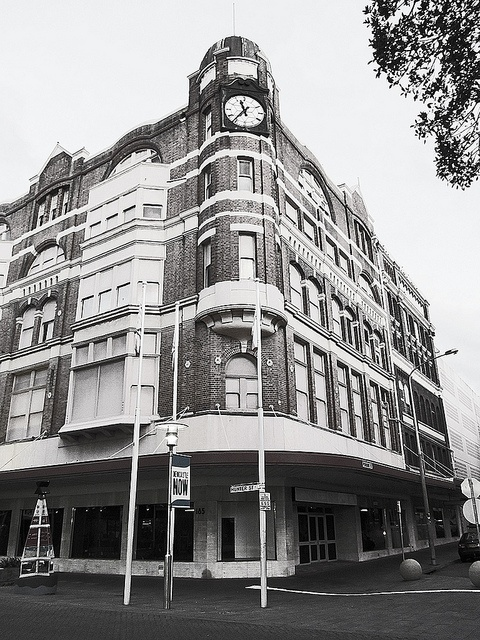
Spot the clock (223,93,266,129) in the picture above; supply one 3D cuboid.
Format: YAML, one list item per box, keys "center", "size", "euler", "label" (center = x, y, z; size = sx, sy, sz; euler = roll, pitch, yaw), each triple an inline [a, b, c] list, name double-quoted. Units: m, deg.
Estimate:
- center: [0.115, -9.642, 22.660]
  size: [1.834, 2.017, 0.103]
  euler: [4, -19, -9]
  label: "clock"
